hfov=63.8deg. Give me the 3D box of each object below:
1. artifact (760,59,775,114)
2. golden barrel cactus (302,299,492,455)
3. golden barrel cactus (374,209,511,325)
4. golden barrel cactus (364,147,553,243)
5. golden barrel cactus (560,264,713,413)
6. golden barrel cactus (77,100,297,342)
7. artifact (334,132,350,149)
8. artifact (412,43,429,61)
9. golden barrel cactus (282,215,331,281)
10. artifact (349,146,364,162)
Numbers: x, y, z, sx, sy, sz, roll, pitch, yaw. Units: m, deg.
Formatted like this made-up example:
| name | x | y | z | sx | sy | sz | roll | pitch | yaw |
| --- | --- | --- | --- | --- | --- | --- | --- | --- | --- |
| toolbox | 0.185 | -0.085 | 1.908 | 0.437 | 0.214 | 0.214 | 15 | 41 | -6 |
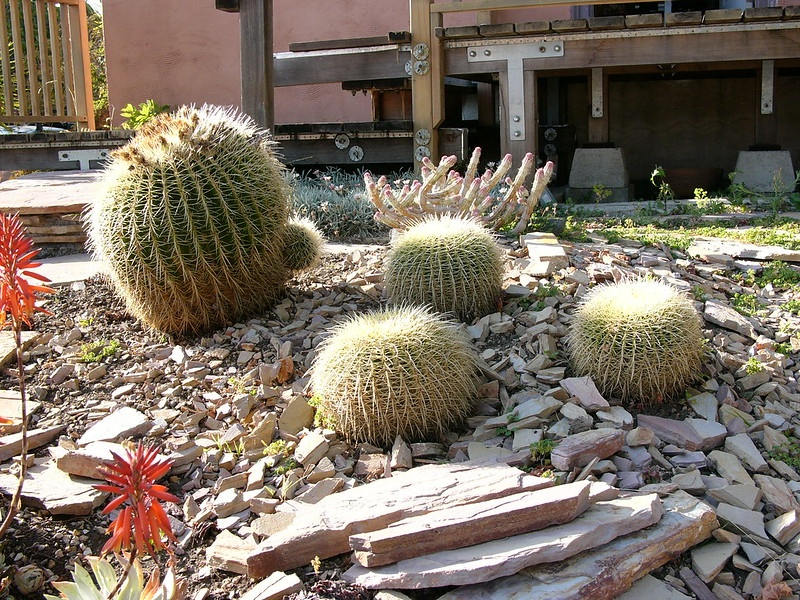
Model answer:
| name | x | y | z | sx | sy | sz | roll | pitch | yaw |
| --- | --- | --- | --- | --- | --- | --- | --- | --- | --- |
| artifact | 4.049 | -2.311 | 7.061 | 0.140 | 0.558 | 0.218 | 3 | 14 | 29 |
| golden barrel cactus | -0.012 | 0.335 | 3.211 | 0.666 | 0.589 | 0.681 | -4 | 0 | 9 |
| golden barrel cactus | 0.414 | -0.143 | 3.917 | 0.525 | 0.523 | 0.527 | -9 | 5 | -23 |
| golden barrel cactus | 0.411 | -0.752 | 4.763 | 1.004 | 0.490 | 0.913 | -9 | 11 | -11 |
| golden barrel cactus | 1.164 | 0.136 | 3.209 | 0.583 | 0.551 | 0.607 | 3 | 15 | 28 |
| golden barrel cactus | -1.164 | -0.434 | 4.089 | 0.995 | 1.025 | 0.959 | -17 | 18 | -30 |
| artifact | -0.675 | -1.820 | 7.420 | 0.200 | 0.173 | 0.068 | -1 | 13 | 11 |
| artifact | 0.218 | -2.608 | 6.799 | 0.168 | 0.176 | 0.053 | 0 | 15 | 27 |
| golden barrel cactus | -0.666 | -0.384 | 4.557 | 0.347 | 0.368 | 0.363 | 7 | 11 | 32 |
| artifact | -0.505 | -1.672 | 7.389 | 0.162 | 0.169 | 0.050 | 0 | 2 | 13 |
